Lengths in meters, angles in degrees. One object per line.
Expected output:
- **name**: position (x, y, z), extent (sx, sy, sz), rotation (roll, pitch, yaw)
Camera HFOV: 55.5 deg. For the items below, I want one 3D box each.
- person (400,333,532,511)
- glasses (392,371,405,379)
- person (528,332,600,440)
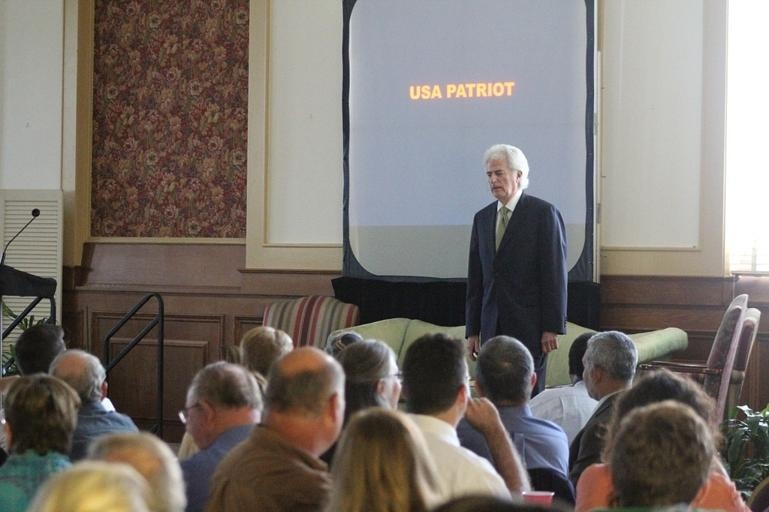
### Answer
- **person**: position (0.316, 0.649, 2.814), extent (0.334, 0.865, 0.305), rotation (-11, 32, 23)
- **glasses**: position (0.053, 0.514, 3.161), extent (0.039, 0.018, 0.042), rotation (-1, -2, 19)
- **person**: position (0.932, 0.682, 3.817), extent (0.292, 0.283, 0.805), rotation (11, -35, 0)
